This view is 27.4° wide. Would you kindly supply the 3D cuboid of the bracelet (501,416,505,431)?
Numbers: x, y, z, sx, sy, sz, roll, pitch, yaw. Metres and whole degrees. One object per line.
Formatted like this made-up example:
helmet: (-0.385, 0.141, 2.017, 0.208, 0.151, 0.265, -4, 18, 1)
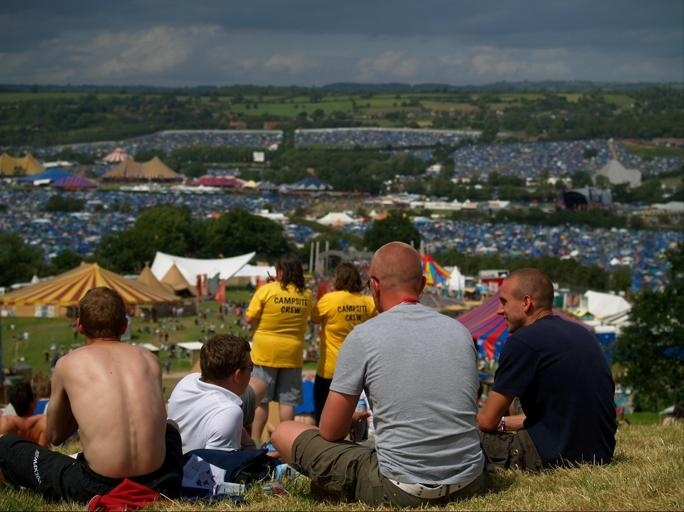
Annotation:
bracelet: (7.364, 7.710, 64.454, 0.166, 0.503, 0.358, 0, -6, 3)
